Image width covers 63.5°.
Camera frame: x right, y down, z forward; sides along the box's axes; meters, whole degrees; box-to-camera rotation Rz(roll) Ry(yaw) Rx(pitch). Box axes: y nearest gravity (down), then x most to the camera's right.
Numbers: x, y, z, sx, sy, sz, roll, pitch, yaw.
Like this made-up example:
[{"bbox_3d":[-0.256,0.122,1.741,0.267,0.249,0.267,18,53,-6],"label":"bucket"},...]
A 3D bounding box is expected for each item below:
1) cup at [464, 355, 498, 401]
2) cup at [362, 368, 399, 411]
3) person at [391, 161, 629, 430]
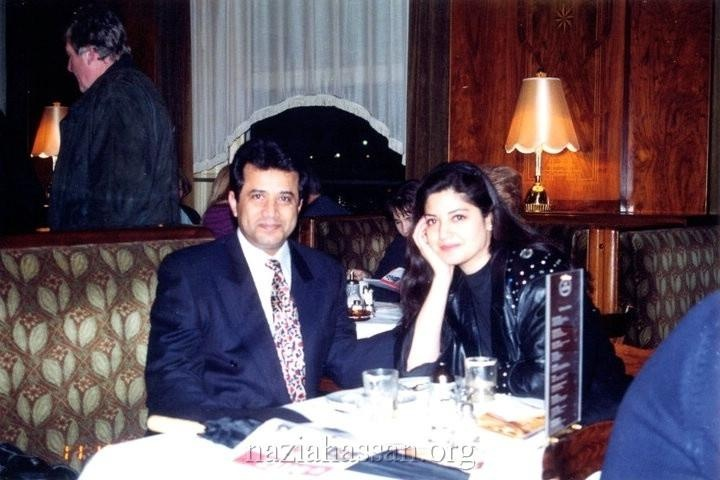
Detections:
[{"bbox_3d":[0.400,0.477,2.016,0.117,0.145,0.124,0,-2,0],"label":"cup"},{"bbox_3d":[0.070,0.484,1.917,0.113,0.137,0.115,-1,-3,0],"label":"cup"},{"bbox_3d":[0.687,0.204,2.671,0.964,1.142,0.942,0,-5,-43],"label":"person"}]
